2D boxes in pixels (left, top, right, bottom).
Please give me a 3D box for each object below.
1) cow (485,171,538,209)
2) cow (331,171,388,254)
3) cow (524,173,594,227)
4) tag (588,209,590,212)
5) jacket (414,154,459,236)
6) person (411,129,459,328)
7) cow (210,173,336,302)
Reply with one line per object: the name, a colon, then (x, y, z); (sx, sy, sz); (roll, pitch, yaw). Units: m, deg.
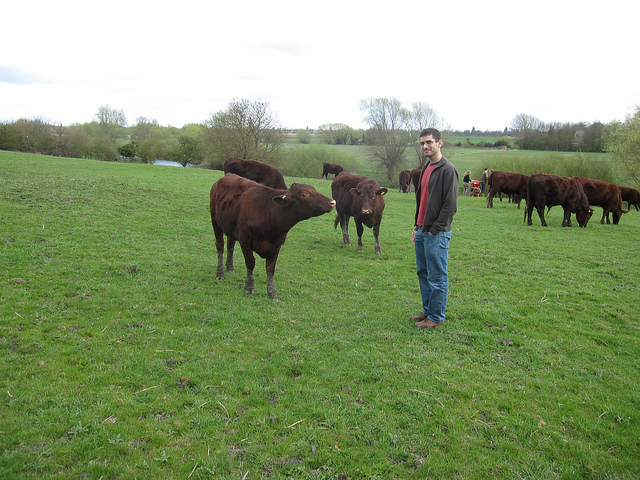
cow: (11.942, -2.975, 28.459); (3.417, 2.135, 1.021); (5, 10, 6)
cow: (1.238, -0.927, 15.206); (1.188, 2.408, 3.194); (1, 9, -10)
cow: (10.701, -1.649, 20.748); (3.022, 2.427, 0.971); (6, 7, 2)
tag: (11.991, -1.315, 20.813); (0.088, 0.118, 0.096); (0, 5, 15)
jacket: (2.295, -0.829, 8.874); (0.599, 1.448, 0.373); (4, 8, 13)
person: (2.244, -0.192, 9.168); (0.768, 3.884, 0.850); (4, 8, 13)
cow: (-1.441, -0.062, 11.077); (1.308, 2.925, 4.055); (-9, 18, -41)
